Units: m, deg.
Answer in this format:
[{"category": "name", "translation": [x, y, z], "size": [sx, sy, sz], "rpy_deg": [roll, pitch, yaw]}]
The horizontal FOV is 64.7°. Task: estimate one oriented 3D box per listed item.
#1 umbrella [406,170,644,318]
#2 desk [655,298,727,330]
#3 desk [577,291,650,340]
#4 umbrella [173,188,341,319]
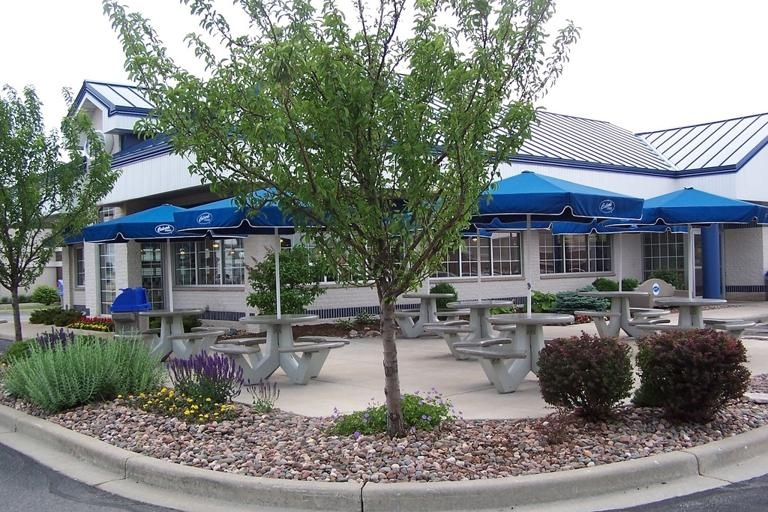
[{"category": "umbrella", "translation": [2.766, -0.269, 11.066], "size": [2.607, 1.647, 2.780], "rpy_deg": [1, 3, 38]}, {"category": "desk", "translation": [6.574, 1.193, 13.174], "size": [1.348, 0.613, 1.299], "rpy_deg": [-1, -2, -14]}, {"category": "desk", "translation": [5.445, 1.517, 14.868], "size": [1.726, 1.047, 1.687], "rpy_deg": [0, -4, -2]}, {"category": "umbrella", "translation": [-2.227, -0.218, 10.792], "size": [2.754, 2.197, 2.388], "rpy_deg": [-2, 0, -33]}]
